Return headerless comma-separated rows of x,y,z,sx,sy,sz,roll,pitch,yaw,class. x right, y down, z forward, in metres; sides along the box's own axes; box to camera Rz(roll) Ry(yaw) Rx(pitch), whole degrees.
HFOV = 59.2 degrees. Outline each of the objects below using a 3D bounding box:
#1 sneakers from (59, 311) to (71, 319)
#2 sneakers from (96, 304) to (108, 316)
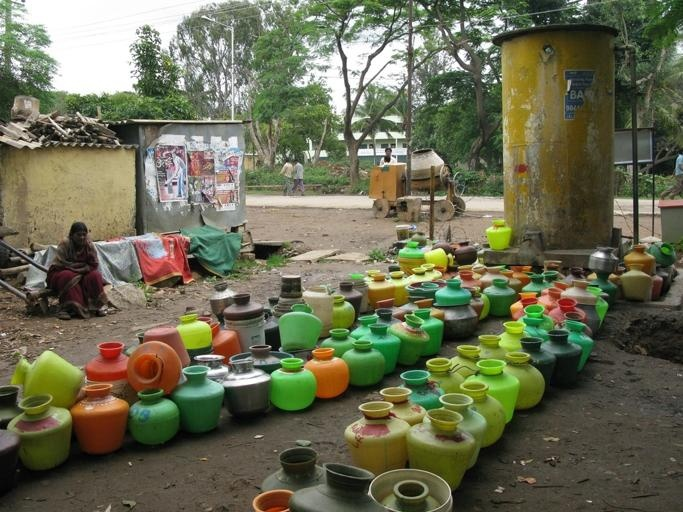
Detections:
-3.759,0.801,8.167,0.165,0.058,0.084,1,2,41,sneakers
-3.368,0.749,8.422,0.161,0.159,0.429,0,-5,-27,sneakers
